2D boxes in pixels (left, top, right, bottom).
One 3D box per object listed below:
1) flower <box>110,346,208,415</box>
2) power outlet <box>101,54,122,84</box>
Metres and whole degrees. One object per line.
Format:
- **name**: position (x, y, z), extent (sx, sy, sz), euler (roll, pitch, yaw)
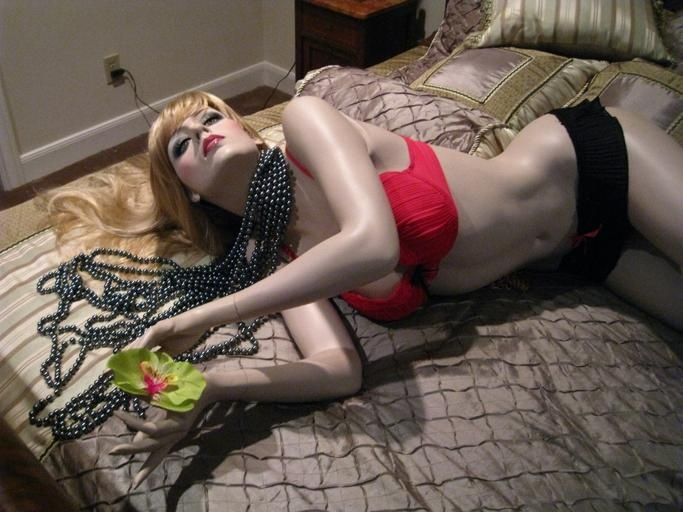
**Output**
- **flower**: position (-0.415, 0.291, 1.099), extent (0.207, 0.194, 0.080), euler (21, 88, 65)
- **power outlet**: position (-1.420, -1.161, 2.996), extent (0.037, 0.206, 0.116), euler (36, 47, 28)
